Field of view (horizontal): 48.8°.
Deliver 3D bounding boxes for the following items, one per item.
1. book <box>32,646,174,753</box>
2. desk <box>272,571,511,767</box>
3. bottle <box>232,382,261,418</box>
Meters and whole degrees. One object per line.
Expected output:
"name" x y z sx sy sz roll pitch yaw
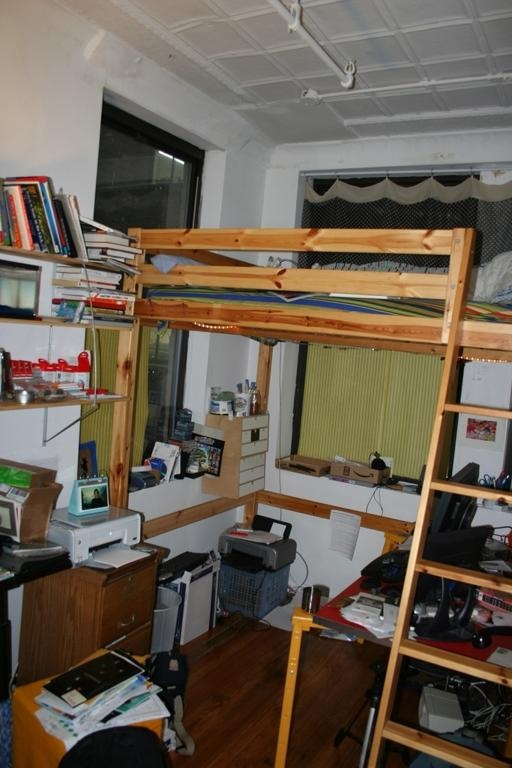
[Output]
"book" -0.535 1.070 1.924 0.281 0.094 0.279 5 4 -44
"desk" 0.597 1.253 2.408 0.666 0.604 1.229 2 -3 21
"bottle" -0.067 0.134 4.338 0.160 0.275 0.261 1 -5 1
